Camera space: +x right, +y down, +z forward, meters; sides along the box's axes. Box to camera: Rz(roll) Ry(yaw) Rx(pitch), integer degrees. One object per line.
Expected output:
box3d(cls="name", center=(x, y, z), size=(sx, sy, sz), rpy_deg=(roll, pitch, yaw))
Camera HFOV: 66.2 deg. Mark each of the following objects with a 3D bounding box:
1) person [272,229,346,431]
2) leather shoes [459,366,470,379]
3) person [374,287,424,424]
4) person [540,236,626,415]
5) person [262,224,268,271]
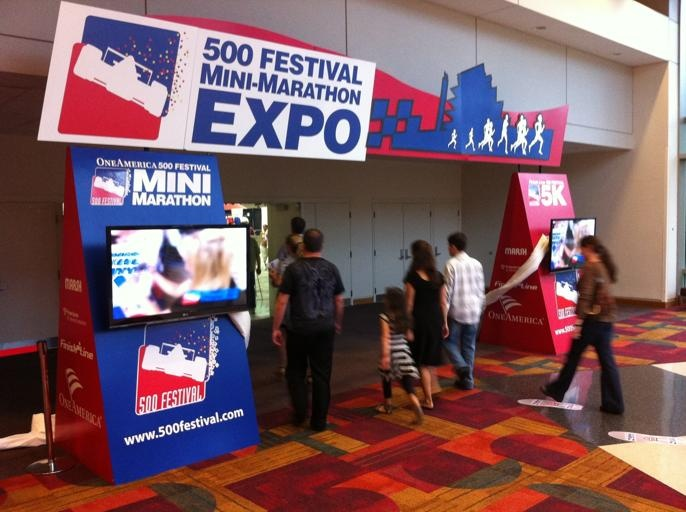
box3d(cls="person", center=(-0.353, 0.816, 5.665), size=(0.748, 2.154, 0.375), rpy_deg=(-1, 4, -3))
box3d(cls="leather shoes", center=(1.588, 1.539, 6.838), size=(0.137, 0.139, 0.070), rpy_deg=(-1, 5, -1))
box3d(cls="person", center=(0.643, 1.087, 5.970), size=(0.515, 1.514, 0.864), rpy_deg=(0, 5, 6))
box3d(cls="person", center=(2.812, 0.793, 6.061), size=(0.780, 2.010, 0.510), rpy_deg=(2, 5, 30))
box3d(cls="person", center=(-1.719, -0.176, 11.809), size=(0.169, 0.984, 0.237), rpy_deg=(-2, 4, -10))
